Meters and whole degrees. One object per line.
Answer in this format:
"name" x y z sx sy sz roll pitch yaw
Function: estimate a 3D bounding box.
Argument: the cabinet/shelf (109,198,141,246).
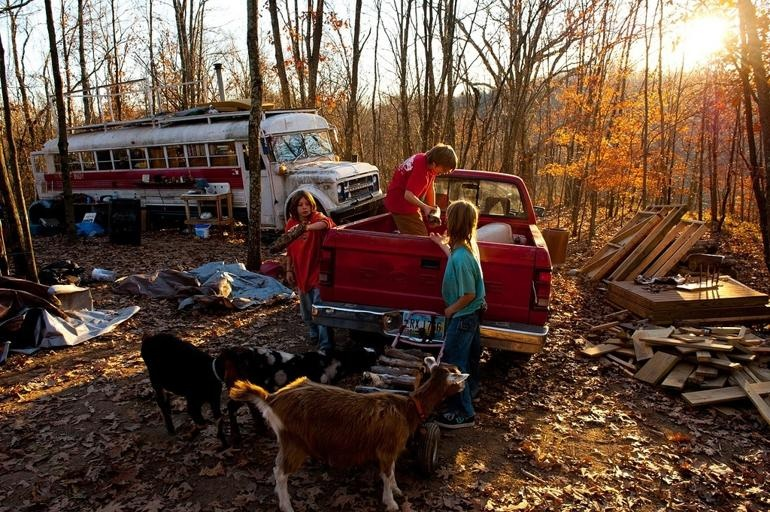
"cabinet/shelf" -7.459 -1.011 15.841 1.073 1.243 1.096 -1 -1 14

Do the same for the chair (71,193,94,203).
"chair" -10.603 -2.038 18.618 0.791 0.328 0.998 2 6 -28

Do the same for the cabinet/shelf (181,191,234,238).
"cabinet/shelf" -5.425 -1.297 16.912 1.750 1.444 1.291 7 9 40

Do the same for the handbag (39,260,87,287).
"handbag" -7.009 0.368 11.468 0.852 0.276 0.810 15 -3 17

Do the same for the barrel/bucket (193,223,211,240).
"barrel/bucket" -5.654 -0.783 16.614 0.602 0.489 0.440 -1 3 -7

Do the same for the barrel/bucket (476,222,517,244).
"barrel/bucket" 1.936 -0.403 9.306 0.515 0.396 0.640 3 10 24

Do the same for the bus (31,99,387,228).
"bus" -6.065 -3.027 18.281 12.412 3.907 3.484 5 21 26

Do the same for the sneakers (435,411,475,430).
"sneakers" 1.010 2.355 7.684 0.610 0.217 0.239 3 3 1
